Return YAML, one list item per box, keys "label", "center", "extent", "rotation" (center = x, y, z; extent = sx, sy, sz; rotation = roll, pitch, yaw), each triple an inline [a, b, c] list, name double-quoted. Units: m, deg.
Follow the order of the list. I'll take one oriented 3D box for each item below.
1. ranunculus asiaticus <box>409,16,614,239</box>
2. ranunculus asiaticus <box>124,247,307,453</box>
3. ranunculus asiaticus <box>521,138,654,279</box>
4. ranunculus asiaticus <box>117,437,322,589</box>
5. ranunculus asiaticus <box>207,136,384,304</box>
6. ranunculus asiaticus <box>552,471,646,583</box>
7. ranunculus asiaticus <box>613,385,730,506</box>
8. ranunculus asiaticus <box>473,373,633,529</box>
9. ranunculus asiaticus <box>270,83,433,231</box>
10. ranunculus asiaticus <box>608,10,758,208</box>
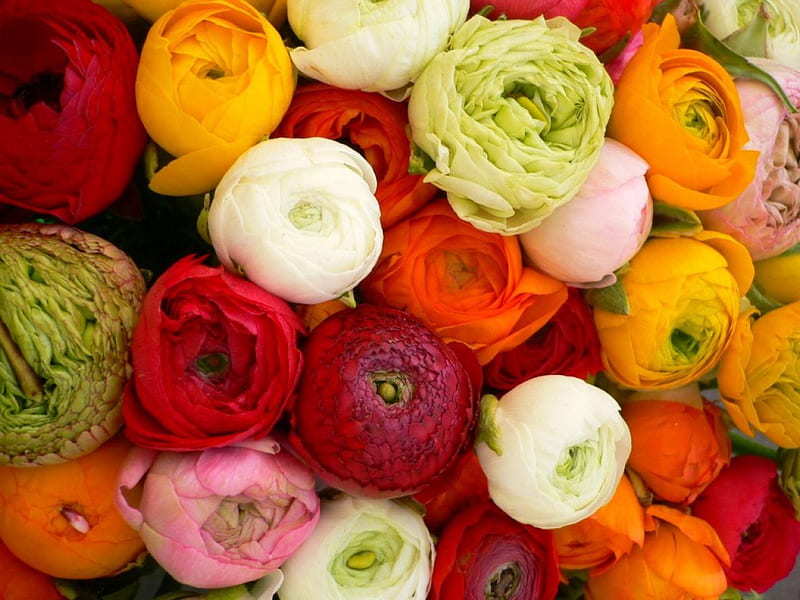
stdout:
- label: "ranunculus asiaticus"
  center: [0.101, -0.133, 0.693]
  extent: [0.156, 0.213, 0.097]
  rotation: [-6, 2, -8]
- label: "ranunculus asiaticus"
  center: [-0.158, 0.047, 0.604]
  extent: [0.132, 0.179, 0.095]
  rotation: [6, 0, -21]
- label: "ranunculus asiaticus"
  center: [0.174, -0.079, 0.739]
  extent: [0.110, 0.142, 0.108]
  rotation: [-2, -21, -8]
- label: "ranunculus asiaticus"
  center: [-0.150, 0.201, 0.635]
  extent: [0.137, 0.113, 0.156]
  rotation: [-6, 27, -24]
- label: "ranunculus asiaticus"
  center: [-0.098, -0.048, 0.631]
  extent: [0.101, 0.082, 0.115]
  rotation: [42, 46, 20]
- label: "ranunculus asiaticus"
  center: [0.212, 0.233, 0.793]
  extent: [0.080, 0.111, 0.076]
  rotation: [-22, -5, 36]
- label: "ranunculus asiaticus"
  center: [0.287, 0.143, 0.786]
  extent: [0.111, 0.106, 0.067]
  rotation: [30, -18, 44]
- label: "ranunculus asiaticus"
  center: [0.136, 0.141, 0.719]
  extent: [0.133, 0.138, 0.116]
  rotation: [22, 23, 35]
- label: "ranunculus asiaticus"
  center: [-0.040, -0.150, 0.723]
  extent: [0.140, 0.117, 0.086]
  rotation: [45, 16, 0]
- label: "ranunculus asiaticus"
  center: [0.273, -0.172, 0.771]
  extent: [0.152, 0.176, 0.096]
  rotation: [-26, 2, 3]
